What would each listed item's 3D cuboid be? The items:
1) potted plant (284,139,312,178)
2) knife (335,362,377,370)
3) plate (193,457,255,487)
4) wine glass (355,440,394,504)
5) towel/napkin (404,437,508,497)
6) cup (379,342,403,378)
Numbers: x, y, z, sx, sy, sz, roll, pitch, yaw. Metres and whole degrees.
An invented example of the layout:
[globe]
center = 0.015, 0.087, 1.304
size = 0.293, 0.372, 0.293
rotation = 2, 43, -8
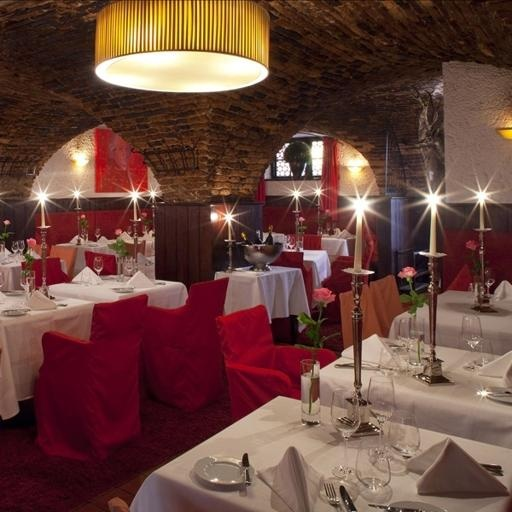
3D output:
[potted plant]
center = 0.914, -2.132, 9.291
size = 0.617, 0.747, 0.579
rotation = 6, -5, -38
[knife]
center = 0.495, 0.547, 2.104
size = 0.191, 0.011, 0.064
rotation = 0, 3, 2
[plate]
center = -0.101, 0.593, 1.164
size = 0.154, 0.031, 0.149
rotation = 1, 5, -9
[wine glass]
center = 0.301, 0.558, 1.094
size = 0.080, 0.119, 0.116
rotation = 1, -4, -20
[towel/napkin]
center = 0.523, 0.552, 1.131
size = 0.192, 0.098, 0.127
rotation = -3, -8, 6
[cup]
center = 0.614, 0.464, 1.915
size = 0.070, 0.106, 0.072
rotation = 2, -9, 0
